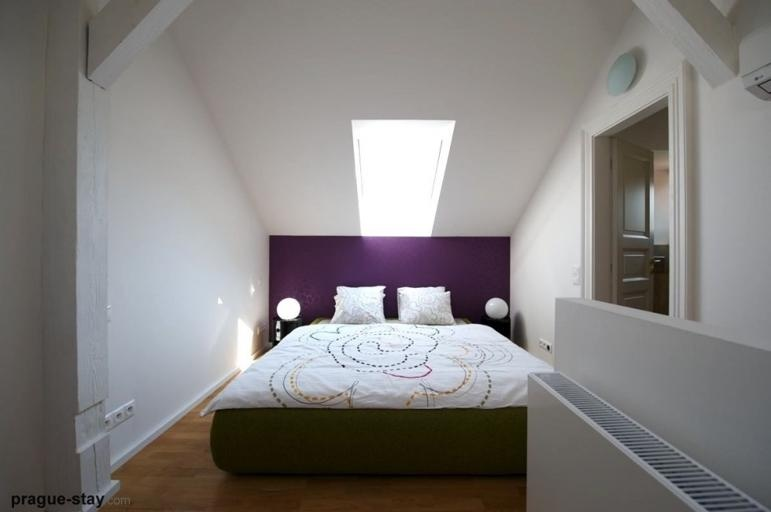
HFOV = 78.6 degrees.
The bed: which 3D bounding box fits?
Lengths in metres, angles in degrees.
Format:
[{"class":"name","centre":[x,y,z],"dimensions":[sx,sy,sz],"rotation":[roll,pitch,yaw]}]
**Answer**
[{"class":"bed","centre":[-0.011,1.016,3.465],"dimensions":[2.100,0.597,1.215],"rotation":[-1,15,4]}]
